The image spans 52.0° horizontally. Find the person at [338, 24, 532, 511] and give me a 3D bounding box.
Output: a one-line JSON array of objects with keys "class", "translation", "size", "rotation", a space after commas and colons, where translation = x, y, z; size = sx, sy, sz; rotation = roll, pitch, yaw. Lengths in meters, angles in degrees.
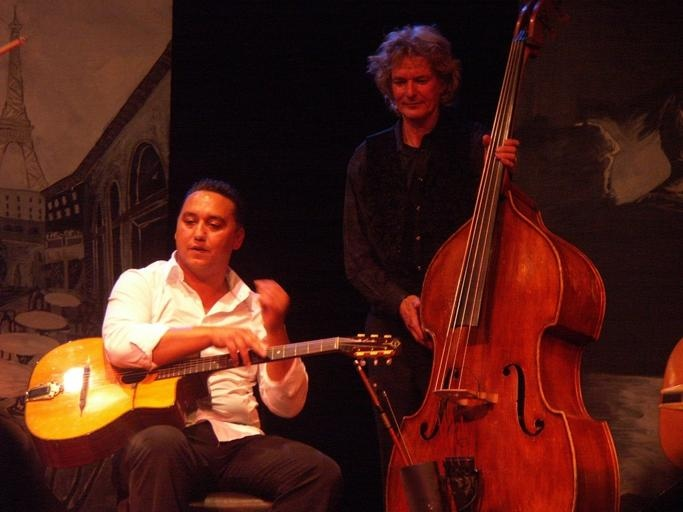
[{"class": "person", "translation": [0.610, -0.027, 4.089], "size": [1.048, 2.252, 0.790], "rotation": [1, -7, 24]}]

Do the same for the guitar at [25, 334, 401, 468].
[{"class": "guitar", "translation": [-0.567, 0.777, 3.731], "size": [2.047, 0.321, 0.748], "rotation": [-11, 38, 0]}]
